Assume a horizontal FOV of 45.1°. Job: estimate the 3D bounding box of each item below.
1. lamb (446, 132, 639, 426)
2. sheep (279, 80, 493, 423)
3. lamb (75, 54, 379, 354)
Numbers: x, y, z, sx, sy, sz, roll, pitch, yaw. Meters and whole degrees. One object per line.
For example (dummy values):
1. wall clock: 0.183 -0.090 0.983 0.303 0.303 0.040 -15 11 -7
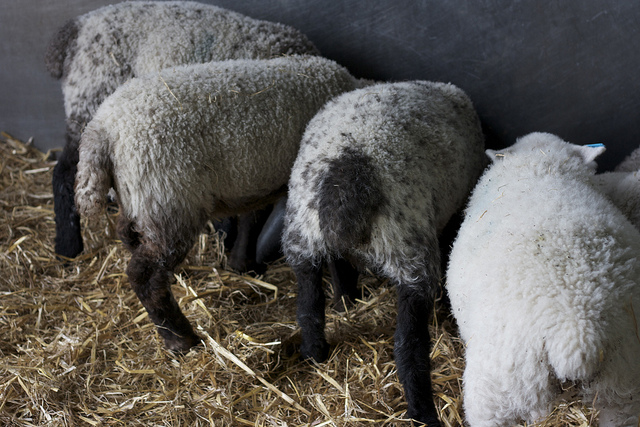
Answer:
1. lamb: 0.807 0.190 3.076 0.580 0.774 1.166 -3 49 19
2. sheep: 0.549 -0.063 3.043 0.655 1.084 1.658 2 18 29
3. lamb: -0.326 -0.236 3.804 0.796 1.192 1.886 22 33 38
